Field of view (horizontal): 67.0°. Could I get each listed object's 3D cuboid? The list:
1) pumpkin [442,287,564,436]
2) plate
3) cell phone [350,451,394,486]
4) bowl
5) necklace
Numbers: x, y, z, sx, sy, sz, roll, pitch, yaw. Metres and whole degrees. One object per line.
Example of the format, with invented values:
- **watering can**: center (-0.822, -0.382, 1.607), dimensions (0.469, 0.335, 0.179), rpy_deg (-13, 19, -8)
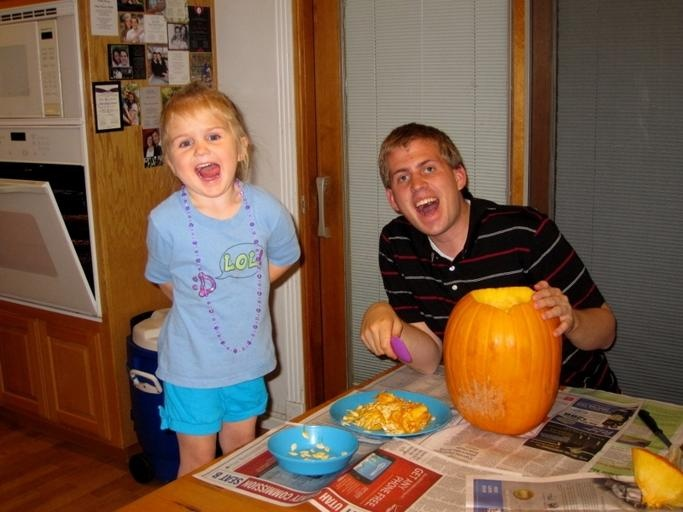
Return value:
- **pumpkin**: center (0.414, 0.271, 1.359), dimensions (0.289, 0.362, 0.301), rpy_deg (3, 15, 42)
- **plate**: center (0.134, 0.391, 1.299), dimensions (0.294, 0.046, 0.298), rpy_deg (-1, 9, 11)
- **cell phone**: center (0.064, 0.450, 1.089), dimensions (0.064, 0.011, 0.111), rpy_deg (12, 17, 32)
- **bowl**: center (-0.074, 0.424, 1.129), dimensions (0.217, 0.051, 0.216), rpy_deg (3, 1, 0)
- **necklace**: center (-0.382, 0.037, 1.621), dimensions (0.167, 0.482, 0.478), rpy_deg (-7, -6, -2)
